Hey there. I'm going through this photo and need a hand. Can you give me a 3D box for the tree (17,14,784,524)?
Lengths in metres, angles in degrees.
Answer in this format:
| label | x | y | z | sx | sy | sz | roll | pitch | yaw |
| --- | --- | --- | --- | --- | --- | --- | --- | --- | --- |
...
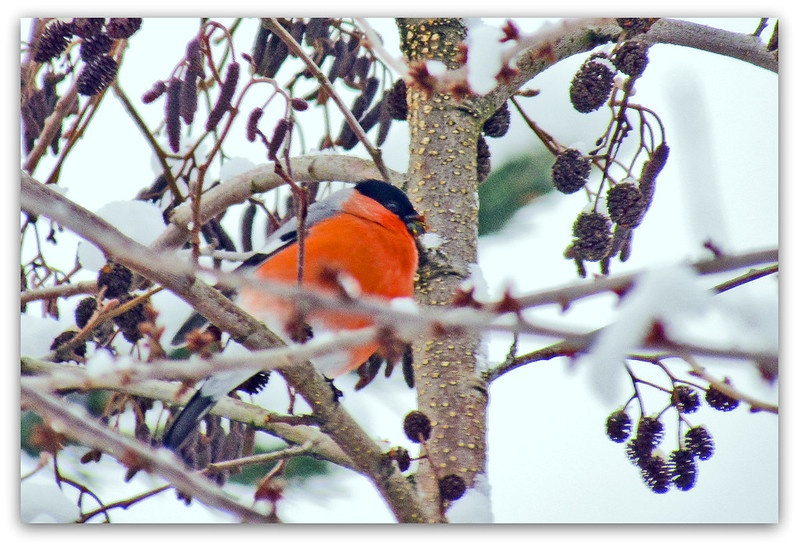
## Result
| label | x | y | z | sx | sy | sz | roll | pitch | yaw |
| --- | --- | --- | --- | --- | --- | --- | --- | --- | --- |
| tree | 0.036 | -0.050 | 3.413 | 1.673 | 1.280 | 0.906 | -1 | 87 | 16 |
